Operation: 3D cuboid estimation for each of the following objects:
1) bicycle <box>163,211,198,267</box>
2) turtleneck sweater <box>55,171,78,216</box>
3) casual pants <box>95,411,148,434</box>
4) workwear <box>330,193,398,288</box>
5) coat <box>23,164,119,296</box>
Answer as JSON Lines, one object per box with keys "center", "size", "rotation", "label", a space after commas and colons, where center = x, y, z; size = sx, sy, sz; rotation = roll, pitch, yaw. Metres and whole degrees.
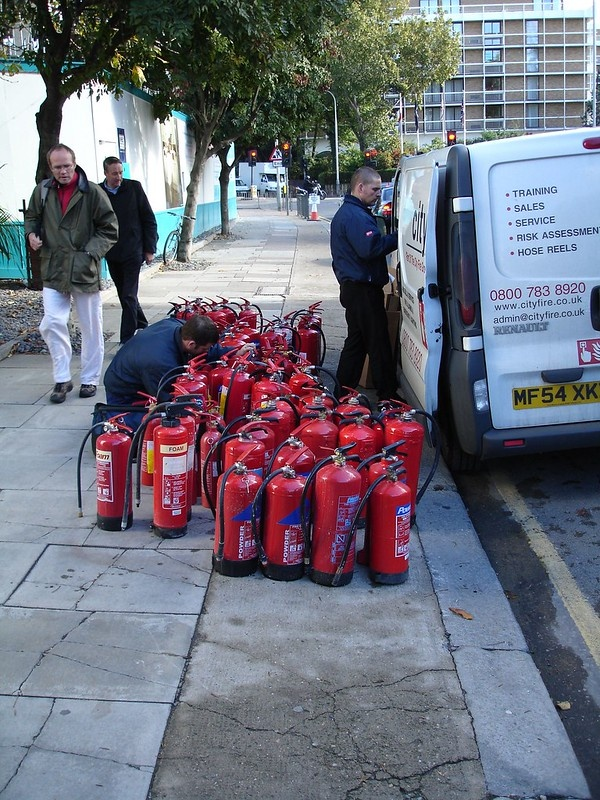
{"center": [-3.414, -4.865, 18.578], "size": [1.057, 1.517, 2.481], "rotation": [4, -3, -13], "label": "bicycle"}
{"center": [-2.163, -1.961, 6.062], "size": [0.245, 0.342, 0.197], "rotation": [1, 4, 41], "label": "turtleneck sweater"}
{"center": [-1.078, 0.139, 3.926], "size": [0.194, 0.119, 0.107], "rotation": [13, 12, 21], "label": "casual pants"}
{"center": [0.595, -1.467, 5.841], "size": [0.609, 0.832, 0.702], "rotation": [-2, 15, -5], "label": "workwear"}
{"center": [-2.183, -1.633, 6.116], "size": [0.825, 1.212, 0.442], "rotation": [0, 10, -14], "label": "coat"}
